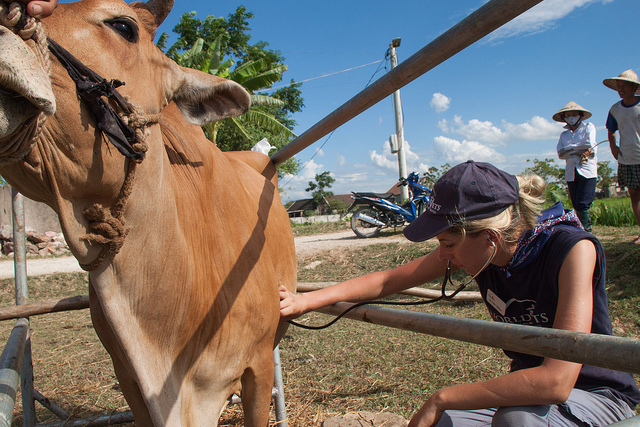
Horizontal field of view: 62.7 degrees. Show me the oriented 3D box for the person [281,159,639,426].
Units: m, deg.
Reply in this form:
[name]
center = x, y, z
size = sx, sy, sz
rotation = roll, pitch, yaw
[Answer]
[person]
center = 0.929, 0.496, 2.914
size = 1.942, 1.365, 1.057
rotation = 7, -16, -25
